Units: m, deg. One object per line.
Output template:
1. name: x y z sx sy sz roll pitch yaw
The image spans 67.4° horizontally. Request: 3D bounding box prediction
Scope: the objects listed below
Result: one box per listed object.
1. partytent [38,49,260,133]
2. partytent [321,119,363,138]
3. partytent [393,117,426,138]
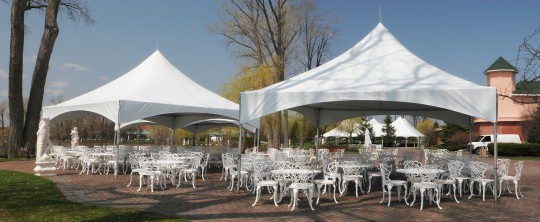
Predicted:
1. partytent: -12.288 -1.810 43.324 22.827 6.626 19.793 0 -2 12
2. partytent: 12.072 3.134 68.857 4.910 2.226 4.713 -2 -3 30
3. partytent: 24.466 3.206 71.084 5.396 2.159 5.131 5 -8 -37
